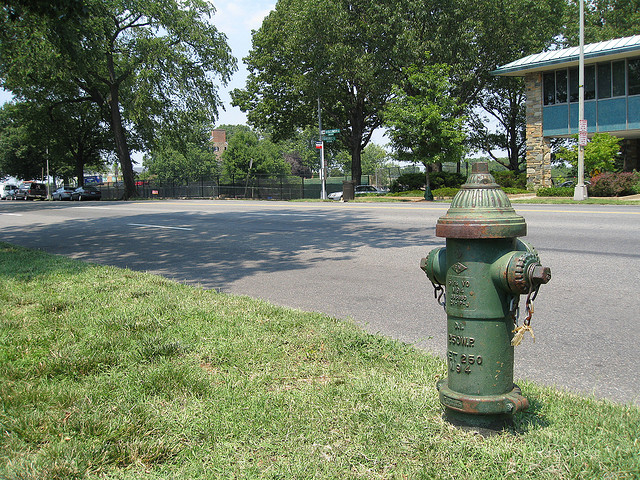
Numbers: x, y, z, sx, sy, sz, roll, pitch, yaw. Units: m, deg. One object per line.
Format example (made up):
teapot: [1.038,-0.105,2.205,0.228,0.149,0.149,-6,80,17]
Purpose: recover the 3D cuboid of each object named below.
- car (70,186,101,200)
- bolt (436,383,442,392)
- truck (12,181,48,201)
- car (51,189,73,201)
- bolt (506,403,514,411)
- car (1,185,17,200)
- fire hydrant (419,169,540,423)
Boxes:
car: [-19.965,-3.881,50.545,1.156,0.975,2.708,-2,7,-35]
bolt: [0.931,1.168,4.697,0.042,0.045,0.041,-1,-6,-15]
truck: [-28.915,-4.888,59.833,2.605,2.288,4.161,-3,8,-42]
car: [-23.520,-4.099,54.435,1.340,1.103,2.941,-4,9,-43]
bolt: [1.399,1.245,4.430,0.046,0.053,0.047,-4,-4,-38]
car: [-34.150,-5.181,65.717,1.366,1.707,2.153,2,-2,-31]
fire hydrant: [1.217,0.444,4.560,0.820,1.873,0.521,4,9,22]
